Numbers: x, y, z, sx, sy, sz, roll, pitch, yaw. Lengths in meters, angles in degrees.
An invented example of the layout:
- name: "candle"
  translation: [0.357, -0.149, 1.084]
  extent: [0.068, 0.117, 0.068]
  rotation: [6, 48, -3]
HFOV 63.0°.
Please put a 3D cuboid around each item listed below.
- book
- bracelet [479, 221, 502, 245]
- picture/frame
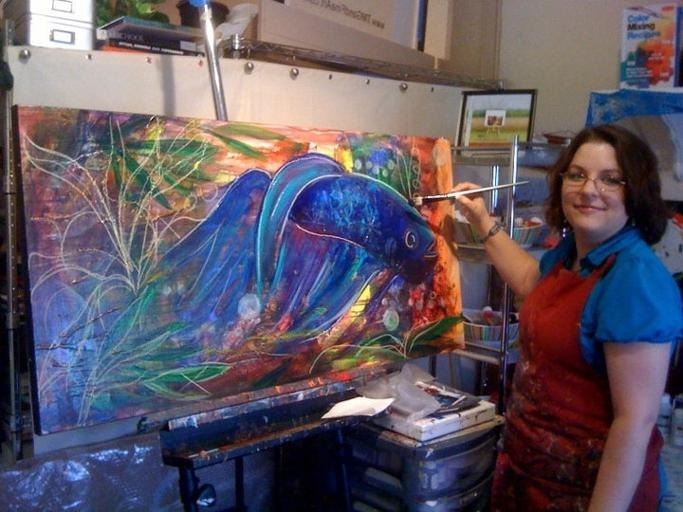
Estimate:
- name: "book"
  translation: [-0.633, -0.728, 1.839]
  extent: [0.326, 0.089, 0.088]
  rotation: [-5, 9, -25]
- name: "bracelet"
  translation: [0.520, -0.085, 1.945]
  extent: [0.080, 0.022, 0.058]
  rotation: [-40, 6, 8]
- name: "picture/frame"
  translation: [0.675, -0.591, 2.438]
  extent: [0.347, 0.315, 0.037]
  rotation: [-1, -11, 26]
